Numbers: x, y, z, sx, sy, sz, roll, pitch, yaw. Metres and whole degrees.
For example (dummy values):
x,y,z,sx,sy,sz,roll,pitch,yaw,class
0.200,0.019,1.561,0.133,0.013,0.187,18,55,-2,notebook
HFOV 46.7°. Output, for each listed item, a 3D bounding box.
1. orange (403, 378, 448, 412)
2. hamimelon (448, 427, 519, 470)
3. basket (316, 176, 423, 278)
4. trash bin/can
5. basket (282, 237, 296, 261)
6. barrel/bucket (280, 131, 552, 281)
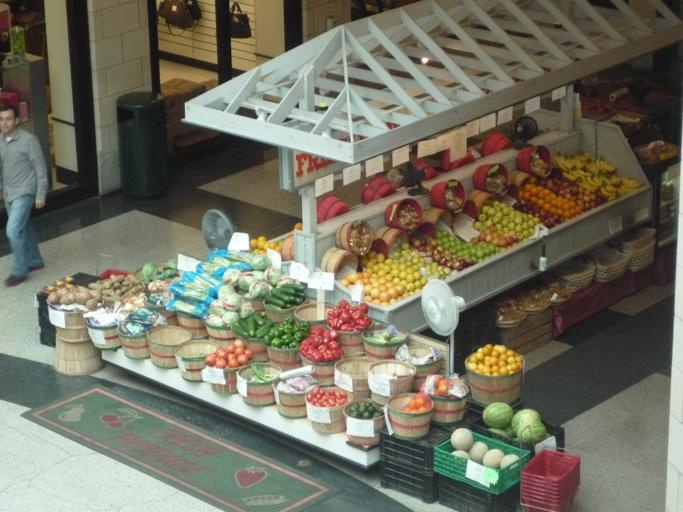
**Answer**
x,y,z,sx,sy,sz,roll,pitch,yaw,class
0.738,1.195,6.703,0.311,0.103,0.238,-25,11,-40,orange
1.131,1.603,6.452,0.419,0.290,0.367,10,20,33,hamimelon
0.322,-0.307,8.429,0.544,0.883,0.932,14,28,43,basket
-3.046,-1.759,12.347,0.661,1.721,0.738,9,15,36,trash bin/can
-0.561,-0.079,8.368,0.151,0.211,0.211,-1,25,4,basket
0.350,-0.511,8.145,3.169,1.166,0.986,-19,27,-28,barrel/bucket
